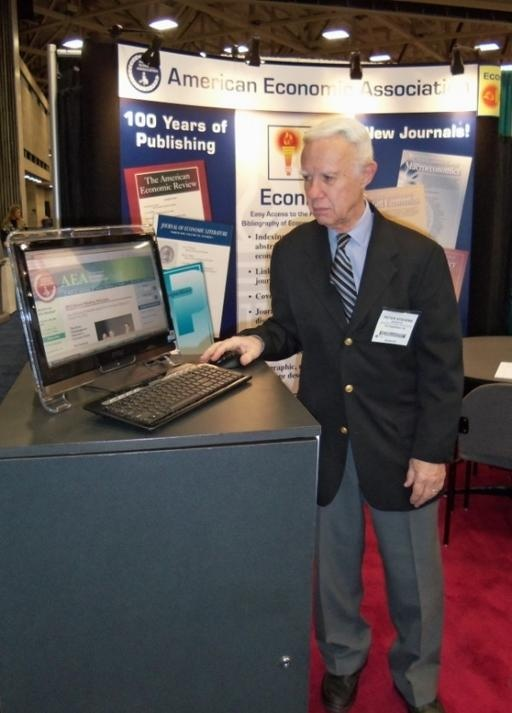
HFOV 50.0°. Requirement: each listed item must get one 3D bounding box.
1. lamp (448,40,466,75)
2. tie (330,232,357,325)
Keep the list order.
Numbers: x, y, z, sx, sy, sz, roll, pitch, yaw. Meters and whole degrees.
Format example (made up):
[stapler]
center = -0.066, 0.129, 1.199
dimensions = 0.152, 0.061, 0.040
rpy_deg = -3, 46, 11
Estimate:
[lamp]
center = 0.995, -1.492, 2.754
dimensions = 0.096, 0.159, 0.043
rpy_deg = 8, 37, 33
[tie]
center = 0.218, -0.196, 1.350
dimensions = 0.052, 0.208, 0.136
rpy_deg = -3, 9, -16
